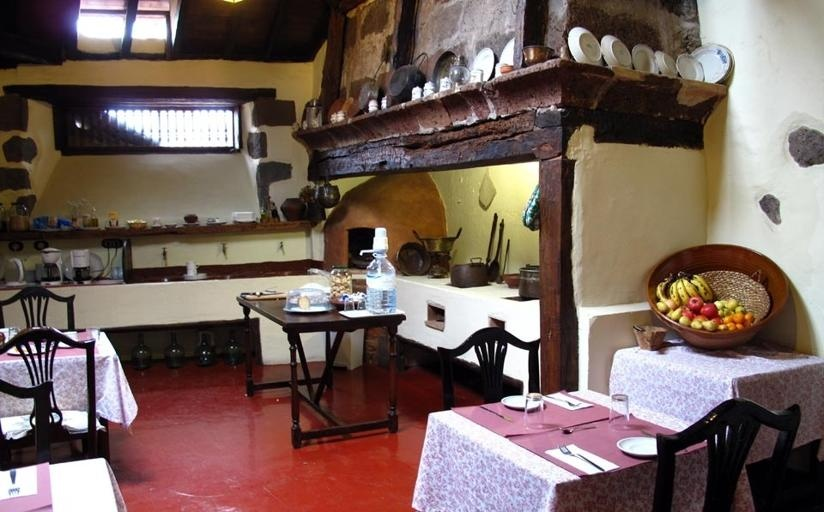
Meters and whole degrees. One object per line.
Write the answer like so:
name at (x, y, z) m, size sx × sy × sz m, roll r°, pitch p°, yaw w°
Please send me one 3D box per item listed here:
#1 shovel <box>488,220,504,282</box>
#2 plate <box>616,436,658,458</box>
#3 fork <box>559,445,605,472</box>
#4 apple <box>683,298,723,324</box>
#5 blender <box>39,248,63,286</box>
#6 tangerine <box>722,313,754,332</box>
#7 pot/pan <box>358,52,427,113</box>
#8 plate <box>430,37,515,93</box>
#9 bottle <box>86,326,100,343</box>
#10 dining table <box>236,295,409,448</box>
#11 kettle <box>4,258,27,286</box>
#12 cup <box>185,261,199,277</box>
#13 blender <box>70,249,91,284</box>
shovel at (1.017, -0.057, 7.155) m, size 0.115 × 0.737 × 0.220 m, roll 10°, pitch -9°, yaw -43°
plate at (1.299, 1.105, 3.463) m, size 0.216 × 0.050 × 0.197 m, roll 4°, pitch 13°, yaw 17°
fork at (0.951, 1.146, 3.377) m, size 0.077 × 0.046 × 0.318 m, roll -16°, pitch 28°, yaw -30°
apple at (2.351, 0.445, 4.810) m, size 0.209 × 0.095 × 0.207 m, roll -14°, pitch 25°, yaw -33°
blender at (-4.460, 0.121, 7.343) m, size 0.215 × 0.423 × 0.292 m, roll -8°, pitch 15°, yaw -31°
tangerine at (2.603, 0.511, 4.729) m, size 0.165 × 0.068 × 0.164 m, roll -12°, pitch 6°, yaw -43°
pot/pan at (-0.219, -1.931, 6.659) m, size 0.444 × 0.619 × 1.005 m, roll -7°, pitch 15°, yaw -28°
plate at (0.576, -1.791, 5.615) m, size 0.165 × 0.444 × 0.699 m, roll 13°, pitch -21°, yaw -42°
bottle at (-2.706, 0.669, 5.019) m, size 0.118 × 0.128 × 0.117 m, roll 1°, pitch 4°, yaw -22°
dining table at (-1.047, 1.135, 6.270) m, size 1.124 × 1.070 × 2.159 m, roll -1°, pitch 1°, yaw -26°
kettle at (-4.956, 0.193, 7.344) m, size 0.329 × 0.349 × 0.367 m, roll 2°, pitch 0°, yaw -21°
cup at (-2.883, 0.188, 7.815) m, size 0.212 × 0.212 × 0.155 m, roll 3°, pitch -1°, yaw -25°
blender at (-4.125, 0.124, 7.397) m, size 0.191 × 0.380 × 0.249 m, roll -10°, pitch 17°, yaw -37°
